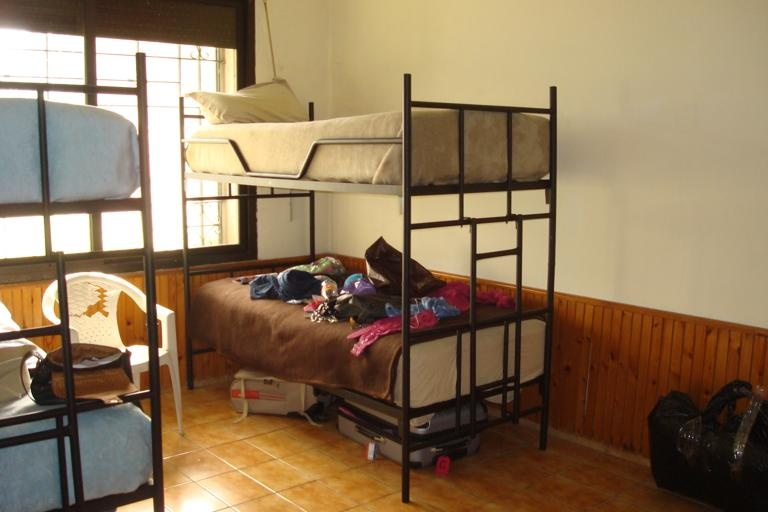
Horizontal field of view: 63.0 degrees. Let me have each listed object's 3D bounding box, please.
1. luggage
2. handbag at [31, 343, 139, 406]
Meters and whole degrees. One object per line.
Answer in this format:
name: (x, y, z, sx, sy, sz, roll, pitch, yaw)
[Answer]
luggage: (0.309, 1.265, 4.358, 0.519, 0.248, 0.648, 0, 3, -37)
handbag: (-1.458, 0.582, 3.106, 0.361, 0.157, 0.357, -1, 9, -39)
